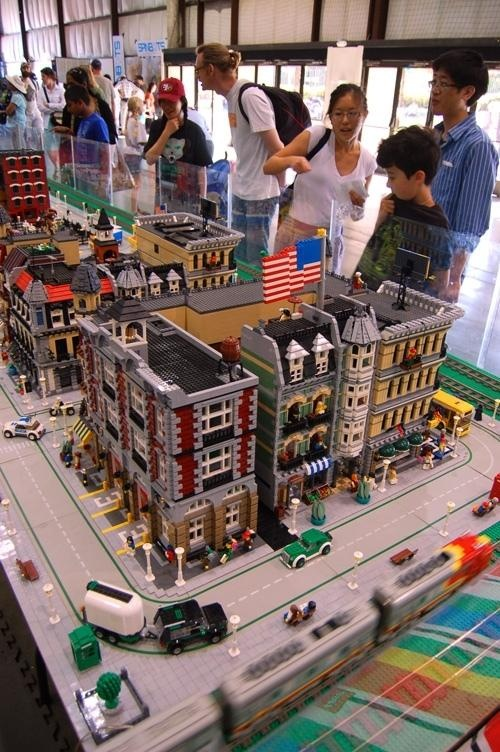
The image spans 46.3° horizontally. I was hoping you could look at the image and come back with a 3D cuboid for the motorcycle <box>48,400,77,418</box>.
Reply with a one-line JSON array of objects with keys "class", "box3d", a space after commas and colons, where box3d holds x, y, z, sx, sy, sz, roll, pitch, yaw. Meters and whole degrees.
[{"class": "motorcycle", "box3d": [-8.569, 1.513, 26.586, 1.114, 0.688, 0.666, 0, 18, -15]}]
